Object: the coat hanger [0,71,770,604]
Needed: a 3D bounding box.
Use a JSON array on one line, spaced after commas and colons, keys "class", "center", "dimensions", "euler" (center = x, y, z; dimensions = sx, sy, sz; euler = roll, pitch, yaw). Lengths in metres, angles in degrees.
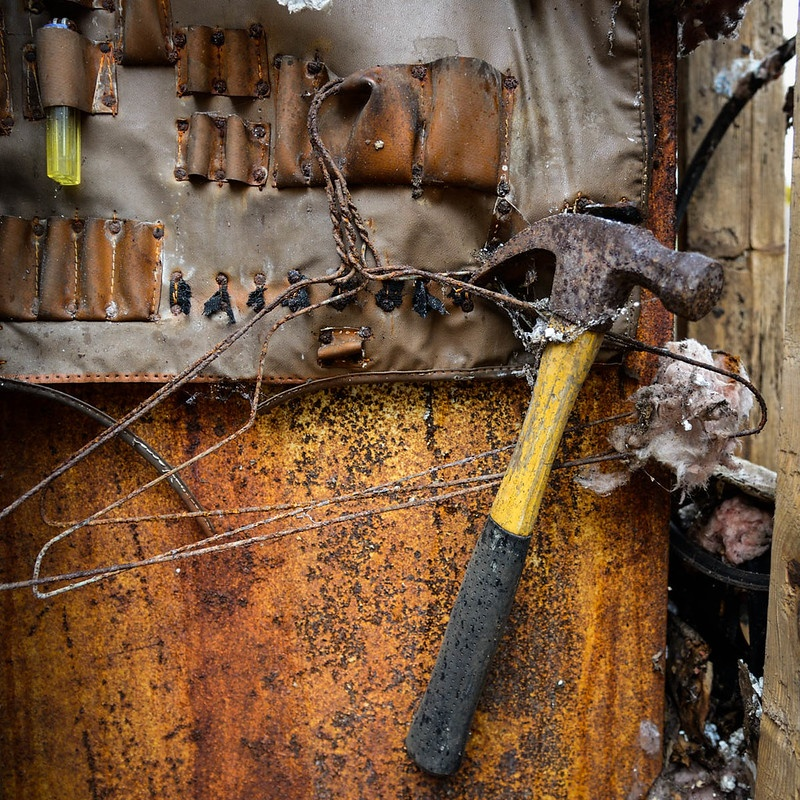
[{"class": "coat hanger", "center": [-0.072, -0.127, 2.746], "dimensions": [1.326, 0.908, 0.497], "euler": [-13, 9, -3]}]
